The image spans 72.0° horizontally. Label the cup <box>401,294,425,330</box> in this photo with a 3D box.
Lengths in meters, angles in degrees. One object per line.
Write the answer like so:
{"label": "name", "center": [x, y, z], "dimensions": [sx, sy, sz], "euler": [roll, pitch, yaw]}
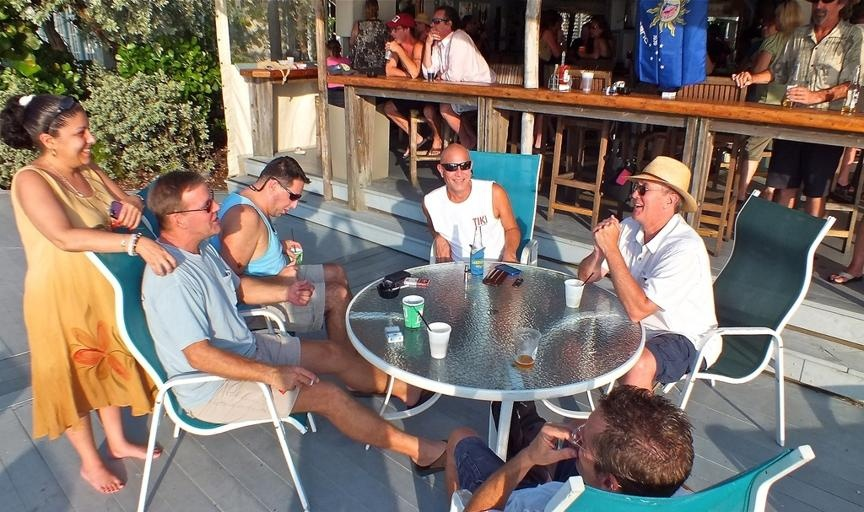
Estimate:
{"label": "cup", "center": [-0.106, 0.373, 4.197], "dimensions": [0.189, 0.208, 0.194], "euler": [0, 28, 0]}

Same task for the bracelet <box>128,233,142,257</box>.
{"label": "bracelet", "center": [-1.969, -0.069, 3.942], "dimensions": [0.061, 0.140, 0.109], "euler": [14, -1, 15]}

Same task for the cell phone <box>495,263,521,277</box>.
{"label": "cell phone", "center": [0.621, 0.111, 4.788], "dimensions": [0.115, 0.027, 0.111], "euler": [-15, 27, -34]}

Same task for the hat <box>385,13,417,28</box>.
{"label": "hat", "center": [-0.426, -3.345, 8.464], "dimensions": [0.370, 0.192, 0.258], "euler": [3, 37, -6]}

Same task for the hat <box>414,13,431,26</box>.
{"label": "hat", "center": [-0.155, -3.873, 9.690], "dimensions": [0.393, 0.133, 0.410], "euler": [3, 35, -1]}

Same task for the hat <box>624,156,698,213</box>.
{"label": "hat", "center": [1.793, -0.577, 4.563], "dimensions": [0.470, 0.209, 0.412], "euler": [24, 0, -9]}

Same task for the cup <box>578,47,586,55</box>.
{"label": "cup", "center": [2.593, -3.562, 10.325], "dimensions": [0.126, 0.119, 0.123], "euler": [-1, 44, 1]}

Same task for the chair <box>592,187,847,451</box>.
{"label": "chair", "center": [2.042, 0.213, 5.601], "dimensions": [1.881, 2.726, 1.616], "euler": [-5, 21, 3]}

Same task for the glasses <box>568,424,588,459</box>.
{"label": "glasses", "center": [0.824, 1.037, 3.324], "dimensions": [0.041, 0.134, 0.137], "euler": [20, 65, 30]}

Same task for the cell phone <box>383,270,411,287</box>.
{"label": "cell phone", "center": [-0.281, 0.172, 4.578], "dimensions": [0.107, 0.042, 0.153], "euler": [15, 20, 40]}

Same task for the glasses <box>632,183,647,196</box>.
{"label": "glasses", "center": [1.595, -0.493, 4.535], "dimensions": [0.117, 0.039, 0.109], "euler": [1, 21, -21]}

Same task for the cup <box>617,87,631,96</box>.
{"label": "cup", "center": [1.945, -1.674, 6.087], "dimensions": [0.156, 0.076, 0.188], "euler": [0, 24, 7]}

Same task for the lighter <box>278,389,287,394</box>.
{"label": "lighter", "center": [-1.016, 0.925, 4.049], "dimensions": [0.040, 0.039, 0.012], "euler": [3, 48, -4]}

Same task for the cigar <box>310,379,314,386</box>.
{"label": "cigar", "center": [-0.824, 0.880, 4.120], "dimensions": [0.029, 0.030, 0.031], "euler": [1, 18, -4]}

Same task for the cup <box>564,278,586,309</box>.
{"label": "cup", "center": [1.032, 0.273, 4.437], "dimensions": [0.188, 0.192, 0.177], "euler": [-2, 15, 1]}

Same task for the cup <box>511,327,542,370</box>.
{"label": "cup", "center": [0.624, 0.596, 3.941], "dimensions": [0.219, 0.246, 0.216], "euler": [2, 9, 0]}

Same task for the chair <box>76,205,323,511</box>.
{"label": "chair", "center": [-1.280, 0.498, 5.142], "dimensions": [2.040, 2.782, 1.558], "euler": [-4, 18, -9]}

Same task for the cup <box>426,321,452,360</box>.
{"label": "cup", "center": [0.053, 0.560, 3.976], "dimensions": [0.204, 0.209, 0.201], "euler": [-1, 15, 0]}

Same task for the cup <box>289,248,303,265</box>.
{"label": "cup", "center": [-1.184, 0.013, 5.189], "dimensions": [0.132, 0.103, 0.135], "euler": [-3, 18, 1]}

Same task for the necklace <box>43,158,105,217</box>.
{"label": "necklace", "center": [-2.511, -0.466, 4.150], "dimensions": [0.182, 0.345, 0.257], "euler": [-28, 58, 9]}
